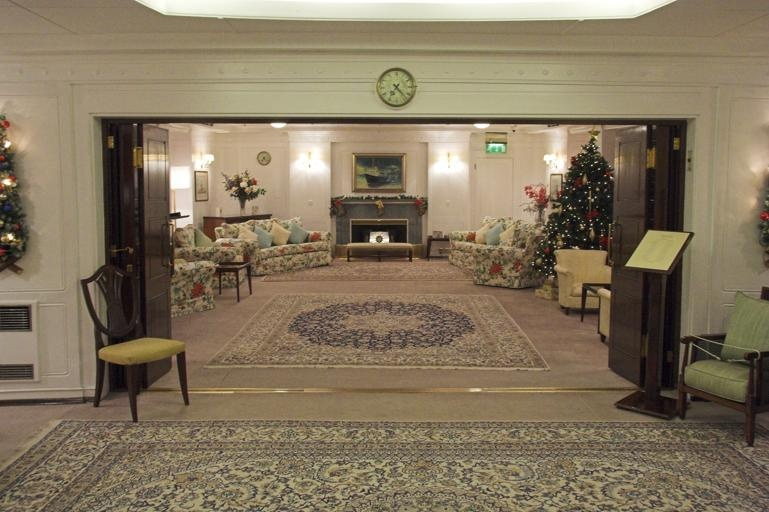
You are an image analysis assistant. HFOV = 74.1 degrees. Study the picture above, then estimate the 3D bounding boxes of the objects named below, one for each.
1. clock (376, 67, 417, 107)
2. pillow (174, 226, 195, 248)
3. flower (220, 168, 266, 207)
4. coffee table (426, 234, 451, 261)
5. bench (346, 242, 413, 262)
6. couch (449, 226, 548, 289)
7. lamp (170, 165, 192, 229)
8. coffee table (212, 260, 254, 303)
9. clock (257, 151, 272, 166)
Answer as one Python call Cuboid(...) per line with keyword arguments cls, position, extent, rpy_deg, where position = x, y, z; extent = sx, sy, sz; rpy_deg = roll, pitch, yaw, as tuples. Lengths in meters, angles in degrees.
Cuboid(cls="clock", position=(0.127, -1.909, 5.694), extent=(0.495, 0.424, 0.104), rpy_deg=(-1, 27, 41))
Cuboid(cls="pillow", position=(-3.938, -0.384, 10.112), extent=(0.134, 0.363, 0.411), rpy_deg=(-11, 1, 26))
Cuboid(cls="flower", position=(-4.114, -1.938, 14.722), extent=(1.430, 0.999, 1.325), rpy_deg=(2, 5, -27))
Cuboid(cls="coffee table", position=(1.539, -0.235, 15.133), extent=(0.794, 0.587, 0.880), rpy_deg=(1, 5, 12))
Cuboid(cls="bench", position=(-0.151, -0.155, 14.764), extent=(1.830, 0.542, 1.192), rpy_deg=(-1, 11, -5))
Cuboid(cls="couch", position=(2.651, -0.144, 12.139), extent=(1.454, 1.382, 3.645), rpy_deg=(-1, 11, -4))
Cuboid(cls="lamp", position=(-5.545, -1.651, 14.046), extent=(0.336, 1.619, 0.811), rpy_deg=(7, 15, 28))
Cuboid(cls="coffee table", position=(-3.115, 0.513, 10.238), extent=(0.945, 0.706, 0.846), rpy_deg=(0, 4, 11))
Cuboid(cls="clock", position=(-3.639, -2.942, 15.403), extent=(0.488, 0.383, 0.101), rpy_deg=(2, 2, -1))
